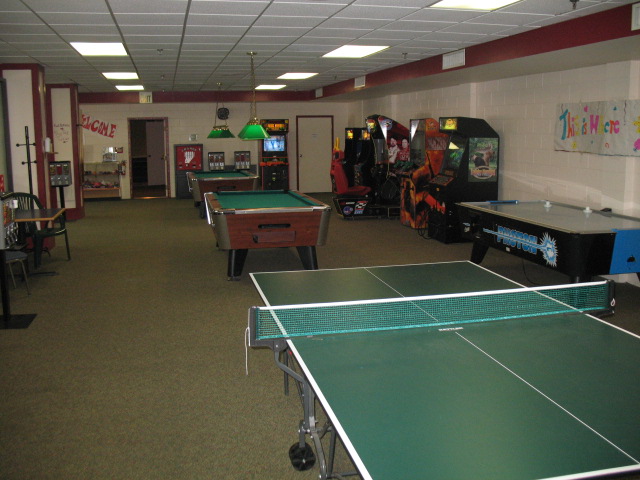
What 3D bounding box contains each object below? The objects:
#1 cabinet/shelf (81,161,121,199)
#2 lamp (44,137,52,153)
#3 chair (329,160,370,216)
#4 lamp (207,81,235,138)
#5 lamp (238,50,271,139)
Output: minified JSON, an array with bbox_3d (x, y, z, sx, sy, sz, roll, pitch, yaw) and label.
[{"bbox_3d":[-6.373,-1.795,13.637,1.330,1.235,0.472,-1,5,-10],"label":"cabinet/shelf"},{"bbox_3d":[-4.753,-1.654,8.224,0.095,0.251,0.508,-7,15,-25],"label":"lamp"},{"bbox_3d":[0.689,-1.168,10.451,0.990,1.382,1.029,-10,14,-36],"label":"chair"},{"bbox_3d":[-2.547,-3.319,12.015,0.867,1.376,0.833,-2,10,-9],"label":"lamp"},{"bbox_3d":[-0.908,-2.012,6.546,0.457,1.131,0.489,14,24,31],"label":"lamp"}]
